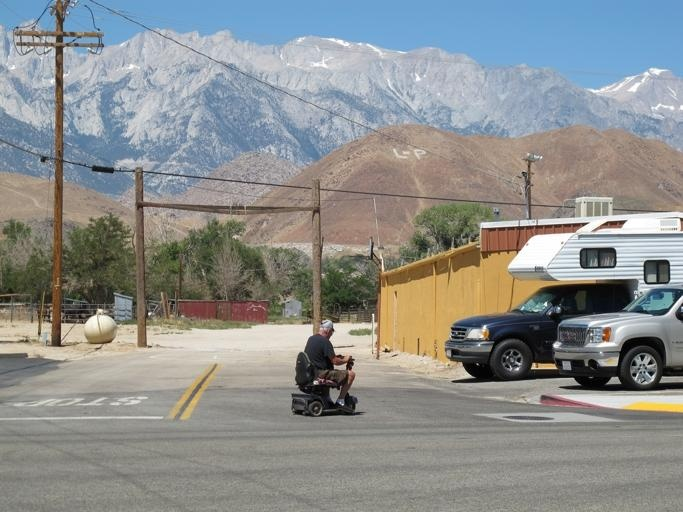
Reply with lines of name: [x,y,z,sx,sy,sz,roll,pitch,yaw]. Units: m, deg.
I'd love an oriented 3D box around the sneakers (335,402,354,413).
sneakers: [0.085,3.296,26.233,0.448,0.209,0.171,1,3,14]

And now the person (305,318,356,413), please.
person: [-0.320,2.435,26.801,1.223,2.187,1.120,-8,16,-29]

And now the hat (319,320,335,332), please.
hat: [-0.324,1.568,26.687,0.230,0.208,0.344,9,8,28]

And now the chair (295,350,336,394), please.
chair: [-0.608,2.540,26.430,0.848,0.947,0.746,1,-4,-25]
